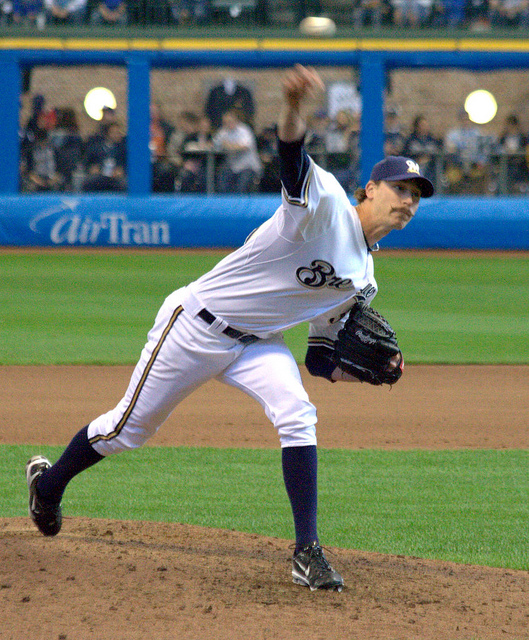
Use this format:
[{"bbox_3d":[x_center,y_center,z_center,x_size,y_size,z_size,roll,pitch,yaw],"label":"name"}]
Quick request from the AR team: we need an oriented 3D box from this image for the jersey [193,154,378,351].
[{"bbox_3d":[0.084,-0.286,5.546,0.751,0.777,0.307,0,12,-2],"label":"jersey"}]

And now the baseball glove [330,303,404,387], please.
[{"bbox_3d":[0.448,0.137,5.894,0.283,0.380,0.186,-42,-13,-15],"label":"baseball glove"}]

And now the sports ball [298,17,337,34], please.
[{"bbox_3d":[0.464,-2.885,12.889,0.418,0.151,0.427,1,11,0],"label":"sports ball"}]

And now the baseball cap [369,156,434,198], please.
[{"bbox_3d":[0.588,-0.625,5.645,0.174,0.121,0.232,12,-4,-42],"label":"baseball cap"}]

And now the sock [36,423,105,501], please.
[{"bbox_3d":[-0.798,0.652,5.832,0.171,0.208,0.493,33,-47,-29],"label":"sock"}]

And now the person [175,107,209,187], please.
[{"bbox_3d":[-0.735,-1.765,12.753,0.298,1.083,0.306,-38,65,-25],"label":"person"}]

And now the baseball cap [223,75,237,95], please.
[{"bbox_3d":[-0.357,-2.405,13.424,0.143,0.179,0.251,0,11,-2],"label":"baseball cap"}]
